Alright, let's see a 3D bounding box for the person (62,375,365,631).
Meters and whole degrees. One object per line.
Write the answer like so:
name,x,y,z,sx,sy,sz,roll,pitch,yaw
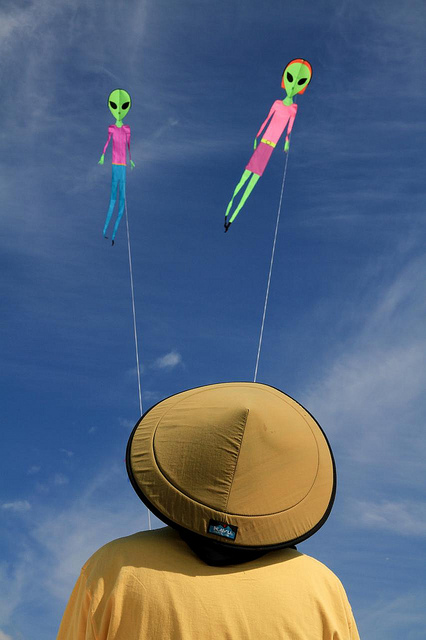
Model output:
person,0.034,0.838,3.337,1.145,0.986,0.673,7,11,-9
